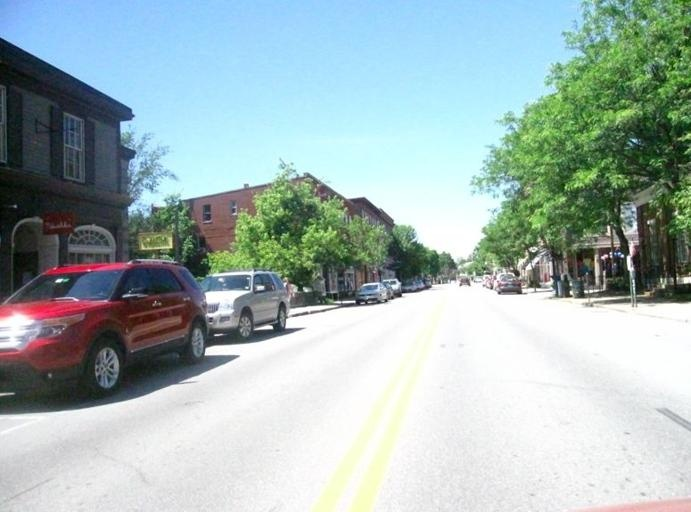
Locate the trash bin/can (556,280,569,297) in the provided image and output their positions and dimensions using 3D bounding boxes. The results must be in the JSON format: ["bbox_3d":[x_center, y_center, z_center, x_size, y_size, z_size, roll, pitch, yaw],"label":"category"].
[{"bbox_3d":[14.416,2.146,33.064,0.620,1.096,1.157,-2,0,20],"label":"trash bin/can"}]

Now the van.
[{"bbox_3d":[-3.376,1.472,15.894,1.472,1.490,3.008,-3,-5,16],"label":"van"}]

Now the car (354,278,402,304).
[{"bbox_3d":[2.672,3.009,41.347,1.562,1.343,5.962,-4,-7,14],"label":"car"}]
